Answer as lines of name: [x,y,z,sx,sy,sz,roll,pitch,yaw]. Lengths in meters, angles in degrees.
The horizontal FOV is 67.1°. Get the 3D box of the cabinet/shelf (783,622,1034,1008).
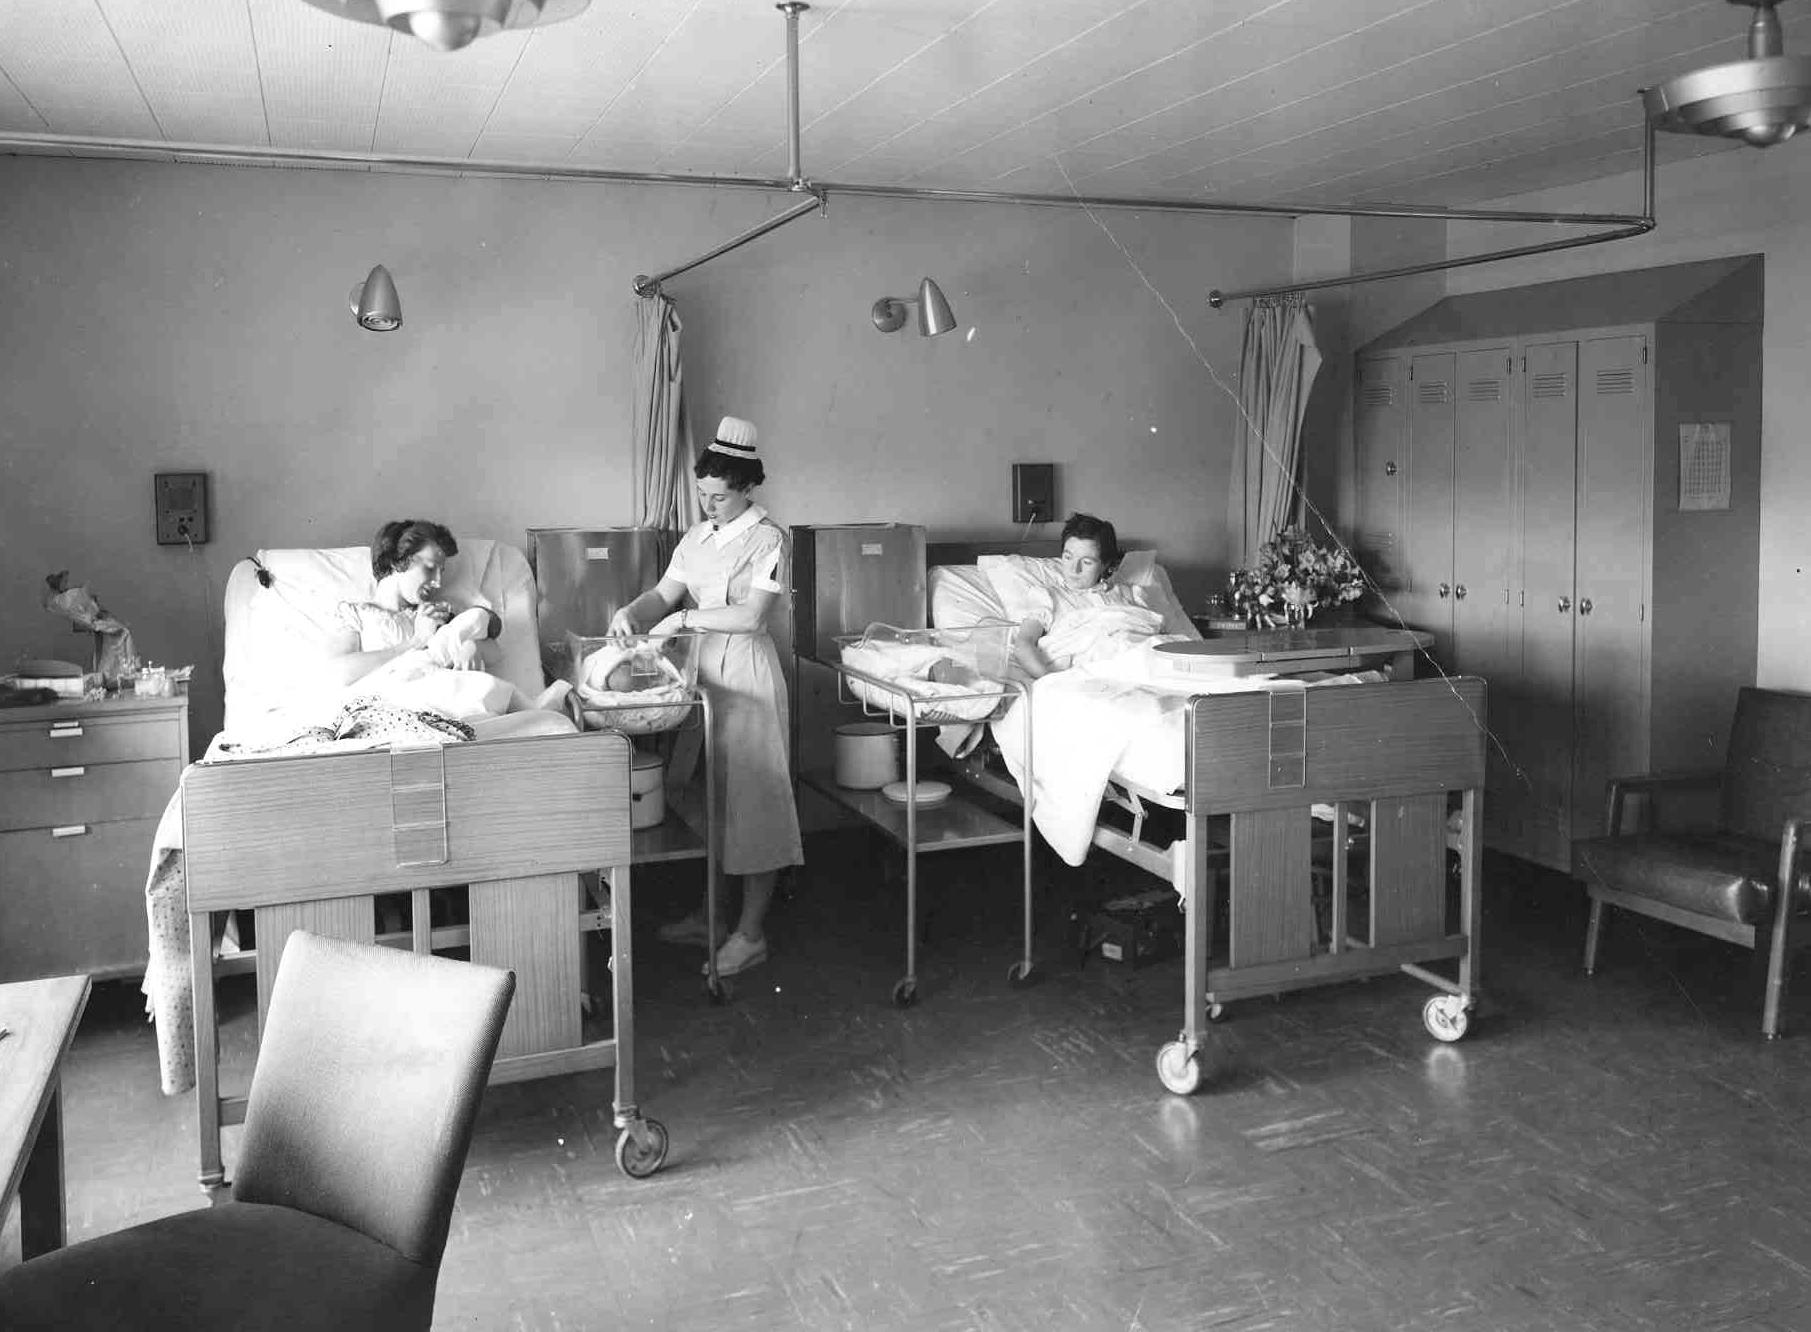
cabinet/shelf: [-0.021,0.593,5.733,0.519,1.119,1.673,0,5,-19]

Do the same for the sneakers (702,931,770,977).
sneakers: [-0.652,1.102,5.203,0.089,0.094,0.226,1,0,26]

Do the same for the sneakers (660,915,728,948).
sneakers: [-0.854,1.032,5.453,0.290,0.123,0.166,2,1,-11]

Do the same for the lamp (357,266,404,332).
lamp: [-2.106,-1.466,5.453,0.203,0.265,0.425,-5,12,-21]

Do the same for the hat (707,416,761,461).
hat: [-0.634,-0.860,5.248,0.211,0.122,0.225,25,18,30]

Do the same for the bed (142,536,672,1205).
bed: [-1.701,0.241,4.601,1.256,1.367,2.078,-2,31,-22]

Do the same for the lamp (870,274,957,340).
lamp: [0.009,-1.636,6.207,0.352,0.255,0.163,7,15,35]

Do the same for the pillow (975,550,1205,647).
pillow: [0.619,-0.325,6.143,0.579,0.145,0.603,0,40,1]

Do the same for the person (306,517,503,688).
person: [-1.825,-0.127,5.063,0.606,0.915,0.469,0,-5,-23]

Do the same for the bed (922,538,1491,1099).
bed: [1.152,0.425,5.372,1.147,1.458,2.204,-3,9,-14]
